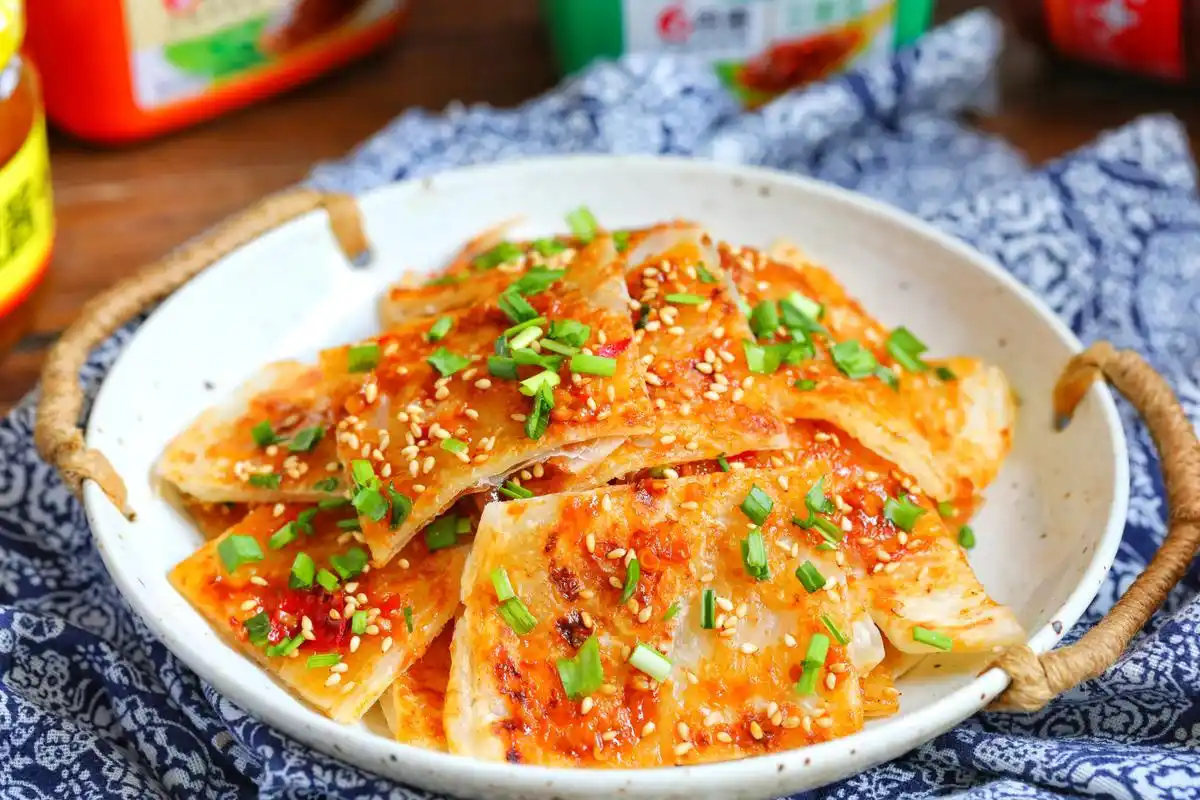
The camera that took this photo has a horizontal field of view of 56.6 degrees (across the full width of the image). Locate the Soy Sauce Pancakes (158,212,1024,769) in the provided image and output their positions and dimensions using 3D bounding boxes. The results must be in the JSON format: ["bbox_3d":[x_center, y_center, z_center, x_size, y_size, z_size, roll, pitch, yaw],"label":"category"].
[{"bbox_3d":[-0.088,0.396,5.169,2.916,2.100,2.506,-5,37,-7],"label":"Soy Sauce Pancakes"}]
